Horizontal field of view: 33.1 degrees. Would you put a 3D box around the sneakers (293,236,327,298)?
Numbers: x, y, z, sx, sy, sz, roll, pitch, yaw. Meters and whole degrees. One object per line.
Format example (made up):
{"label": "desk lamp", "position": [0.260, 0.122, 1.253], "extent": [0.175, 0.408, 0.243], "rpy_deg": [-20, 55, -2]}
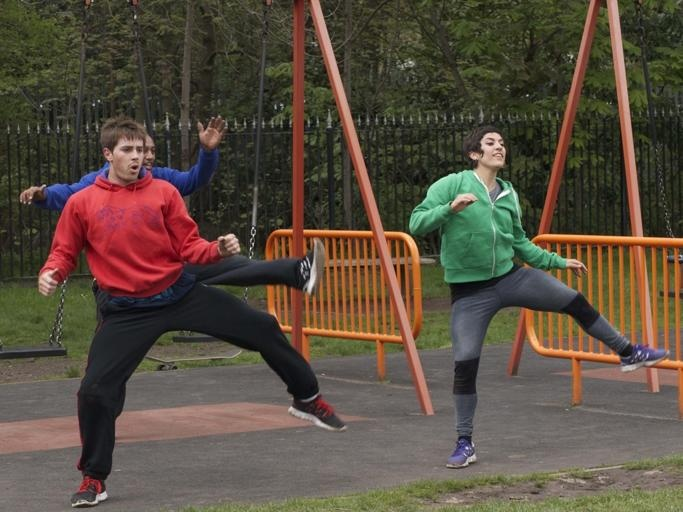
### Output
{"label": "sneakers", "position": [-0.206, 0.073, 7.933], "extent": [0.183, 0.413, 0.144], "rpy_deg": [2, -16, 20]}

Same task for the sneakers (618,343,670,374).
{"label": "sneakers", "position": [2.376, 0.795, 9.151], "extent": [0.474, 0.209, 0.166], "rpy_deg": [-16, 6, -2]}

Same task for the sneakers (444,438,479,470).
{"label": "sneakers", "position": [0.852, 1.406, 8.199], "extent": [0.120, 0.143, 0.305], "rpy_deg": [-3, -5, 23]}

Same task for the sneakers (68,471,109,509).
{"label": "sneakers", "position": [-1.640, 1.533, 7.435], "extent": [0.113, 0.147, 0.307], "rpy_deg": [-3, -7, 8]}

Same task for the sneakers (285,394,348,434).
{"label": "sneakers", "position": [-0.175, 1.124, 8.288], "extent": [0.525, 0.231, 0.187], "rpy_deg": [21, -2, -6]}
